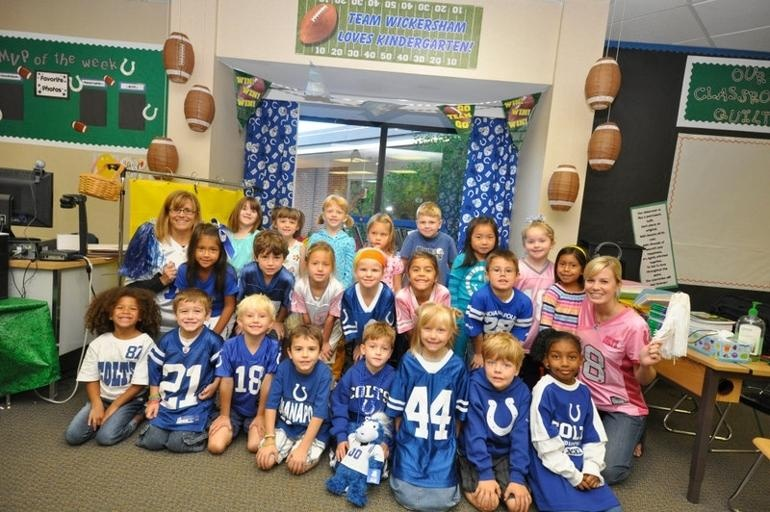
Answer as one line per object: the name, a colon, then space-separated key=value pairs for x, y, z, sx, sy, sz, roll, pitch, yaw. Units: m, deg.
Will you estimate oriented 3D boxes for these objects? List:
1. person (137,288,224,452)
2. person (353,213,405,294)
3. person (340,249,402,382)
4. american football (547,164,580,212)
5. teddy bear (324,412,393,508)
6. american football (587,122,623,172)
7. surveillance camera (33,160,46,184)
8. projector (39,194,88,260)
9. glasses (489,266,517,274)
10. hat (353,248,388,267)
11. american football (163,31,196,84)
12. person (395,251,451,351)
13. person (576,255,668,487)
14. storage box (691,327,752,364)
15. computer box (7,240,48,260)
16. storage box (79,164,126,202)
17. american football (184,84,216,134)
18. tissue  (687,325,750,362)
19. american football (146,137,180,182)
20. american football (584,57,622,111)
person: x=-1.484 y=0.856 z=4.239 sx=0.629 sy=1.177 sz=0.722 roll=5 pitch=5 yaw=44
person: x=-0.062 y=0.163 z=5.080 sx=0.415 sy=1.134 sz=0.337 roll=5 pitch=18 yaw=5
person: x=-0.145 y=0.405 z=4.531 sx=0.404 sy=0.989 sz=0.295 roll=3 pitch=24 yaw=-4
american football: x=1.812 y=-0.697 z=5.890 sx=0.335 sy=0.482 sz=0.355 roll=6 pitch=-1 yaw=41
teddy bear: x=-0.140 y=1.404 z=4.006 sx=0.361 sy=0.585 sz=0.226 roll=16 pitch=-16 yaw=30
american football: x=2.211 y=-1.148 z=5.855 sx=0.317 sy=0.451 sz=0.331 roll=10 pitch=4 yaw=42
surveillance camera: x=-2.887 y=-0.713 z=4.805 sx=0.108 sy=0.175 sz=0.095 roll=4 pitch=8 yaw=33
projector: x=-2.705 y=-0.267 z=4.827 sx=0.379 sy=0.538 sz=0.325 roll=4 pitch=13 yaw=-37
glasses: x=0.887 y=0.097 z=4.375 sx=0.223 sy=0.052 sz=0.083 roll=2 pitch=7 yaw=17
hat: x=-0.112 y=-0.013 z=4.442 sx=0.164 sy=0.125 sz=0.169 roll=7 pitch=-2 yaw=2
american football: x=-2.107 y=-2.026 z=5.853 sx=0.367 sy=0.428 sz=0.379 roll=3 pitch=-2 yaw=37
person: x=0.303 y=0.513 z=4.604 sx=0.429 sy=1.123 sz=0.293 roll=-1 pitch=13 yaw=4
person: x=1.585 y=0.852 z=4.327 sx=0.926 sy=1.588 sz=0.892 roll=0 pitch=11 yaw=22
storage box: x=2.469 y=0.639 z=4.281 sx=0.288 sy=0.179 sz=0.478 roll=3 pitch=6 yaw=-9
computer box: x=-2.928 y=-0.061 z=4.744 sx=0.163 sy=0.125 sz=0.238 roll=2 pitch=3 yaw=5
storage box: x=-2.527 y=-0.703 z=5.034 sx=0.266 sy=0.383 sz=0.385 roll=-6 pitch=-7 yaw=44
american football: x=-1.934 y=-1.533 z=5.912 sx=0.332 sy=0.444 sz=0.335 roll=2 pitch=-2 yaw=-4
tissue : x=2.479 y=0.640 z=4.270 sx=0.302 sy=0.172 sz=0.482 roll=3 pitch=6 yaw=-9
american football: x=-2.251 y=-1.039 z=5.825 sx=0.304 sy=0.353 sz=0.184 roll=-3 pitch=7 yaw=-25
american football: x=2.142 y=-1.730 z=5.680 sx=0.323 sy=0.476 sz=0.182 roll=3 pitch=7 yaw=22
